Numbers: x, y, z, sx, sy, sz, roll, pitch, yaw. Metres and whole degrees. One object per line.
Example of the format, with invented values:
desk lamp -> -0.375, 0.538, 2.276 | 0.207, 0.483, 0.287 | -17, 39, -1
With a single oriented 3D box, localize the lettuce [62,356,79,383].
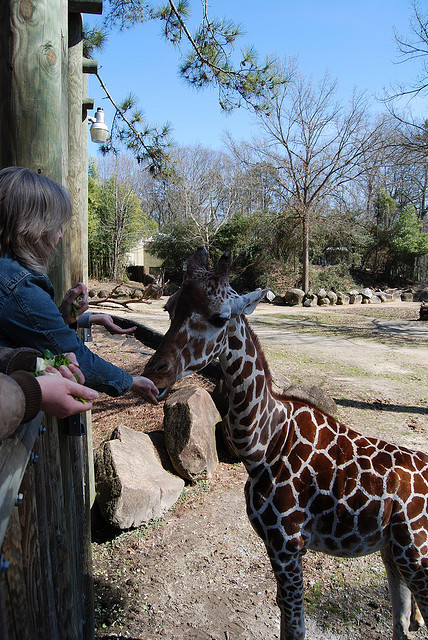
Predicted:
lettuce -> -0.444, 0.150, 1.510 | 0.021, 0.030, 0.098 | -2, -43, 29

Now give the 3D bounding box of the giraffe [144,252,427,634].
giraffe -> 0.382, 0.697, 2.226 | 1.337, 1.949, 0.602 | -1, 8, -8

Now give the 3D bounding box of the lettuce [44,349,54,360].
lettuce -> -0.480, 0.100, 1.432 | 0.026, 0.031, 0.078 | -3, 8, -19
